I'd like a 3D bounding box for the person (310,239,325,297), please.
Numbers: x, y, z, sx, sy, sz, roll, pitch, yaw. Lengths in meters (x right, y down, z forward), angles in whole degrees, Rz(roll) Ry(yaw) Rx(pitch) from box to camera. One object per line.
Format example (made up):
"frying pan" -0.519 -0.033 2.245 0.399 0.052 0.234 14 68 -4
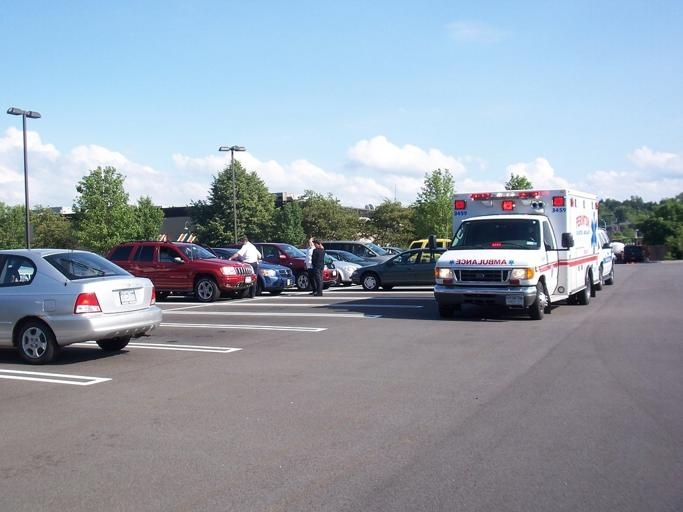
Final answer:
"person" -0.883 0.526 22.554 0.465 1.961 1.592 -1 3 -2

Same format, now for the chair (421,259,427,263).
"chair" 3.190 0.220 23.205 0.193 0.117 0.211 -1 -8 9

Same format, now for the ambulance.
"ambulance" 4.847 -0.024 16.264 3.379 3.130 5.762 -2 -2 31
